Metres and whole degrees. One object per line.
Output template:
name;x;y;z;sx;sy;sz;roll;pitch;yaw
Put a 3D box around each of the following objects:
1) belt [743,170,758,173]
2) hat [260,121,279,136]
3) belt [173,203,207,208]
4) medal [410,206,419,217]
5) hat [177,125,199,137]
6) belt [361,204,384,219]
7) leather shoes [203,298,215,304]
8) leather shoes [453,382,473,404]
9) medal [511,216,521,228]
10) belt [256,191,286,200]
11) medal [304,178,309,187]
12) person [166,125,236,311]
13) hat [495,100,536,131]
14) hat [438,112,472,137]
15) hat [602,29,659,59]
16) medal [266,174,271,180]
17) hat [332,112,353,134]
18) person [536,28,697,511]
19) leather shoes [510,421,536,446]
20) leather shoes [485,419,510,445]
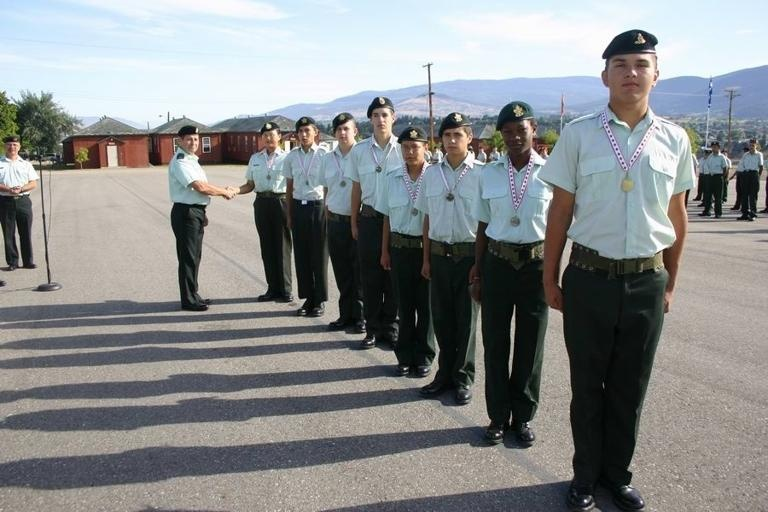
belt;10.395;-2.417;16.809;0.312;0.086;0.262;5;13;30
hat;-1.673;-1.891;8.711;0.248;0.182;0.392;-4;11;-11
belt;-2.738;-0.713;8.407;0.442;0.097;0.180;-5;11;-14
medal;0.316;-0.455;6.255;0.076;0.078;0.020;7;13;26
hat;-2.804;-1.769;8.441;0.229;0.108;0.255;-7;7;-38
belt;-0.153;-0.525;6.998;0.198;0.090;0.155;7;7;-5
leather shoes;-2.530;0.665;8.522;0.059;0.068;0.164;-4;13;-39
leather shoes;0.777;1.355;5.784;0.143;0.158;0.347;-1;-6;3
medal;1.149;-0.293;5.162;0.066;0.088;0.034;0;-12;20
belt;-1.669;-0.901;8.798;0.439;0.110;0.080;1;10;12
medal;-1.062;-1.024;8.210;0.086;0.128;0.017;14;33;12
person;-2.695;-0.605;8.621;0.737;2.587;1.194;-5;11;-20
hat;1.155;-1.239;5.193;0.326;0.255;0.303;0;11;9
hat;0.705;-1.260;5.646;0.341;0.207;0.150;-7;11;-24
hat;1.763;-1.527;4.243;0.348;0.186;0.225;2;11;21
medal;-1.687;-1.157;8.670;0.046;0.071;0.016;2;0;3
hat;-0.528;-1.746;7.601;0.211;0.153;0.285;-6;-15;-4
person;1.721;0.134;4.422;1.063;3.511;0.688;0;10;10
leather shoes;1.226;1.568;5.195;0.207;0.139;0.219;1;11;13
leather shoes;1.019;1.556;5.214;0.290;0.141;0.127;-8;12;-29
